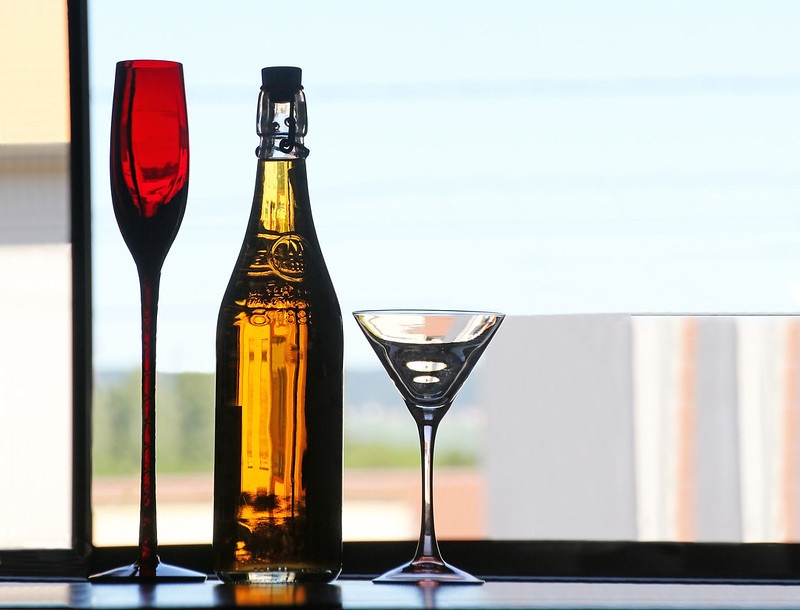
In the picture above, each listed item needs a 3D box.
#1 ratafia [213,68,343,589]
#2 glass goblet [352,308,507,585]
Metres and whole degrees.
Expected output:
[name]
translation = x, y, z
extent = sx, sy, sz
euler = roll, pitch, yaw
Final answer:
[ratafia]
translation = -0.124, 0.019, 1.923
extent = 0.132, 0.513, 0.154
euler = 0, -19, -6
[glass goblet]
translation = 0.040, 0.138, 1.919
extent = 0.149, 0.252, 0.145
euler = -4, -18, 5
